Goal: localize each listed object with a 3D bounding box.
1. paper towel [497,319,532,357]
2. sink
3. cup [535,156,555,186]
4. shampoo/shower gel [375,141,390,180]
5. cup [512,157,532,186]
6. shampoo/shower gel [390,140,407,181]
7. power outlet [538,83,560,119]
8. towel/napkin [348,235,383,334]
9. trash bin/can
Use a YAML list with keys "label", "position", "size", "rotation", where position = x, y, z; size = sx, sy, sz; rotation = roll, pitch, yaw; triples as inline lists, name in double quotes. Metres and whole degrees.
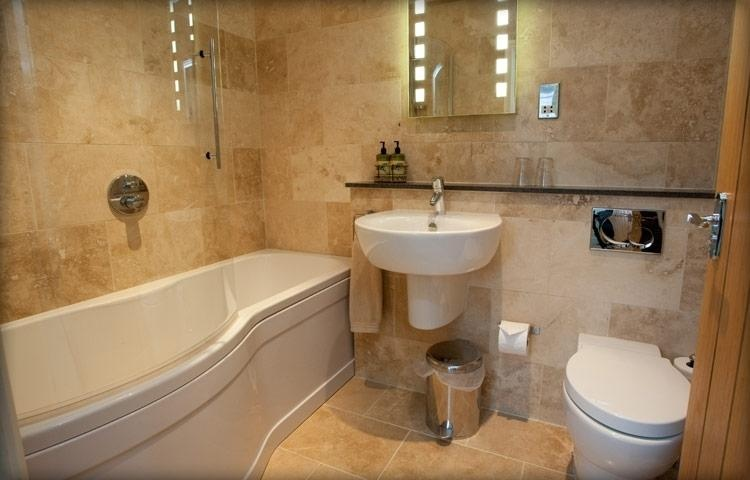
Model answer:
- label: "paper towel"
  position: [0.720, 0.493, 2.786]
  size: [0.204, 0.200, 0.172]
  rotation: [5, 12, 32]
- label: "sink"
  position: [0.269, 0.050, 2.660]
  size: [0.730, 0.307, 0.517]
  rotation: [1, 11, 13]
- label: "cup"
  position: [0.898, -0.353, 2.743]
  size: [0.088, 0.144, 0.055]
  rotation: [2, 13, 18]
- label: "shampoo/shower gel"
  position: [0.045, -0.462, 3.072]
  size: [0.082, 0.225, 0.125]
  rotation: [-3, 12, -2]
- label: "cup"
  position: [0.783, -0.357, 2.766]
  size: [0.081, 0.143, 0.041]
  rotation: [1, 13, 14]
- label: "shampoo/shower gel"
  position: [0.135, -0.454, 3.051]
  size: [0.104, 0.235, 0.099]
  rotation: [-4, 12, -13]
- label: "power outlet"
  position: [0.901, -0.721, 2.724]
  size: [0.120, 0.183, 0.019]
  rotation: [-2, 5, -3]
- label: "towel/napkin"
  position: [-0.075, 0.248, 3.070]
  size: [0.204, 0.624, 0.100]
  rotation: [5, -17, -28]
- label: "trash bin/can"
  position: [0.429, 0.805, 2.825]
  size: [0.303, 0.442, 0.323]
  rotation: [-1, 12, 6]
